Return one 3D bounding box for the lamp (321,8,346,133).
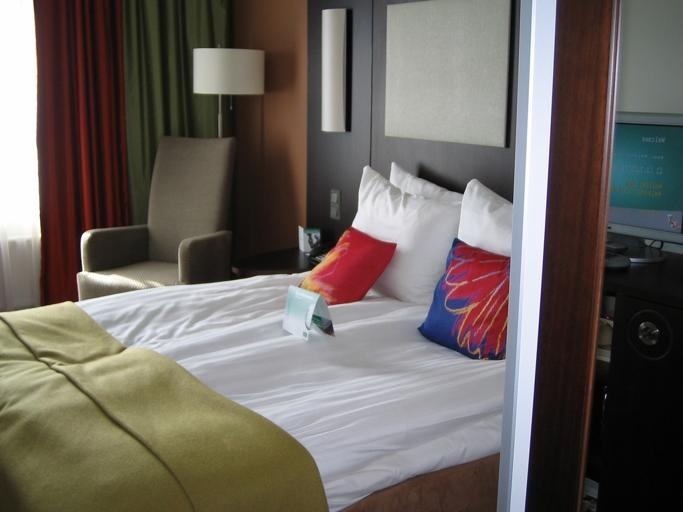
[{"bbox_3d":[-0.050,-1.225,3.604,0.177,0.770,0.099,0,12,5],"label":"lamp"}]
